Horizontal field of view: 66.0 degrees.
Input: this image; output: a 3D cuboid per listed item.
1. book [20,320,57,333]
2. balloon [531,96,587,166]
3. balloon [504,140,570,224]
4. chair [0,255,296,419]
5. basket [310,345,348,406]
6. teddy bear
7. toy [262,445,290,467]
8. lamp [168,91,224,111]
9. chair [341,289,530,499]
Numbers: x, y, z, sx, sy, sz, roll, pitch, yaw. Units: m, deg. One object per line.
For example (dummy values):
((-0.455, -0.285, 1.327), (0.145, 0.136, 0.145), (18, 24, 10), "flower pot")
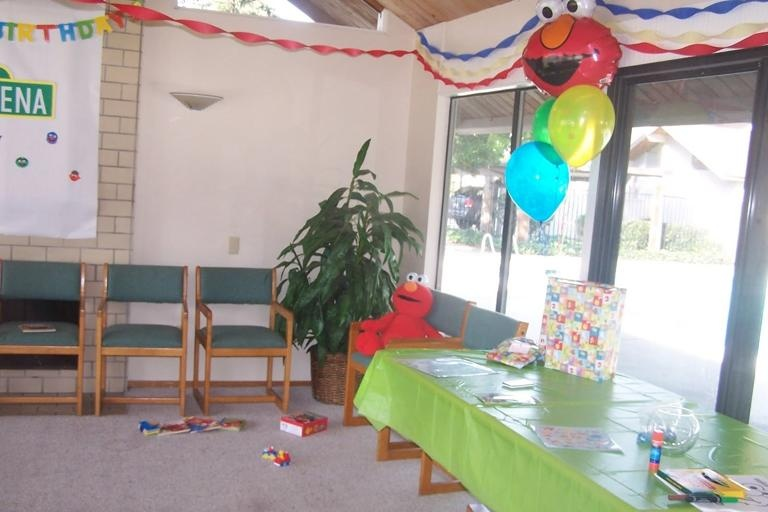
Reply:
((-2.828, 0.586, 4.841), (0.241, 0.034, 0.318), (-3, 13, -33), "book")
((1.165, -0.831, 3.845), (0.369, 0.426, 0.366), (-2, -2, 9), "balloon")
((0.981, -0.485, 3.797), (0.386, 0.509, 0.152), (6, 12, 11), "balloon")
((-2.088, 0.682, 5.097), (2.434, 1.208, 0.783), (3, 12, -6), "chair")
((-0.491, 1.097, 5.466), (0.460, 0.462, 0.488), (2, -3, -34), "basket")
((0.172, 0.513, 4.840), (0.704, 0.756, 0.517), (11, 0, 26), "teddy bear")
((-0.776, 1.457, 4.306), (0.106, 0.074, 0.175), (2, 10, -42), "toy")
((-1.694, -1.415, 5.367), (0.460, 0.156, 0.214), (1, 11, -16), "lamp")
((0.314, 0.902, 3.768), (0.834, 1.320, 1.382), (3, -2, -30), "chair")
